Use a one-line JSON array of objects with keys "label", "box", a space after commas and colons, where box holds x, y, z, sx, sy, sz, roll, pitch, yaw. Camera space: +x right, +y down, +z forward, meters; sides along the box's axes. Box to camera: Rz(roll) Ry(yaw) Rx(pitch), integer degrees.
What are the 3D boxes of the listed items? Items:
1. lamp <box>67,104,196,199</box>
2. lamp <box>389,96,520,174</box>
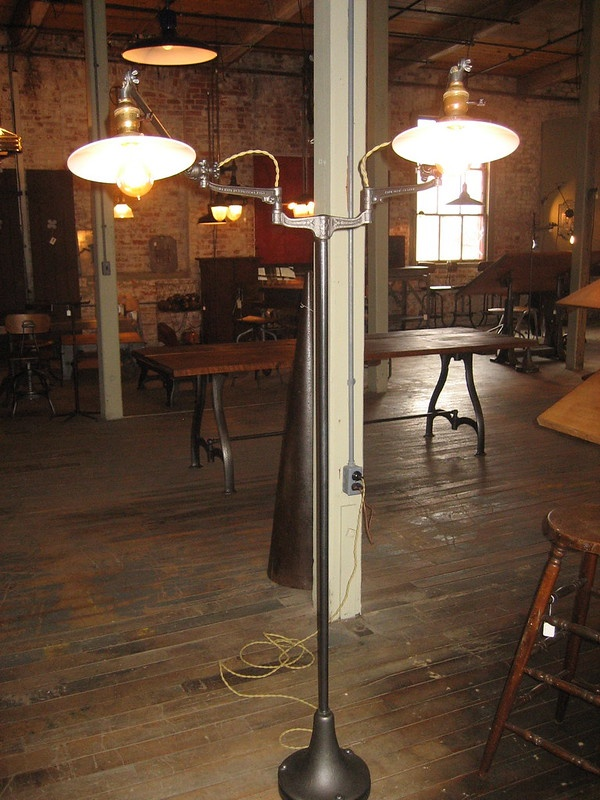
[{"label": "lamp", "box": [-0.329, -0.470, 1.280, 0.249, 0.173, 0.232, 0, 20, -12]}, {"label": "lamp", "box": [0.305, -0.488, 1.333, 0.225, 0.092, 0.226, 1, -3, 10]}]
